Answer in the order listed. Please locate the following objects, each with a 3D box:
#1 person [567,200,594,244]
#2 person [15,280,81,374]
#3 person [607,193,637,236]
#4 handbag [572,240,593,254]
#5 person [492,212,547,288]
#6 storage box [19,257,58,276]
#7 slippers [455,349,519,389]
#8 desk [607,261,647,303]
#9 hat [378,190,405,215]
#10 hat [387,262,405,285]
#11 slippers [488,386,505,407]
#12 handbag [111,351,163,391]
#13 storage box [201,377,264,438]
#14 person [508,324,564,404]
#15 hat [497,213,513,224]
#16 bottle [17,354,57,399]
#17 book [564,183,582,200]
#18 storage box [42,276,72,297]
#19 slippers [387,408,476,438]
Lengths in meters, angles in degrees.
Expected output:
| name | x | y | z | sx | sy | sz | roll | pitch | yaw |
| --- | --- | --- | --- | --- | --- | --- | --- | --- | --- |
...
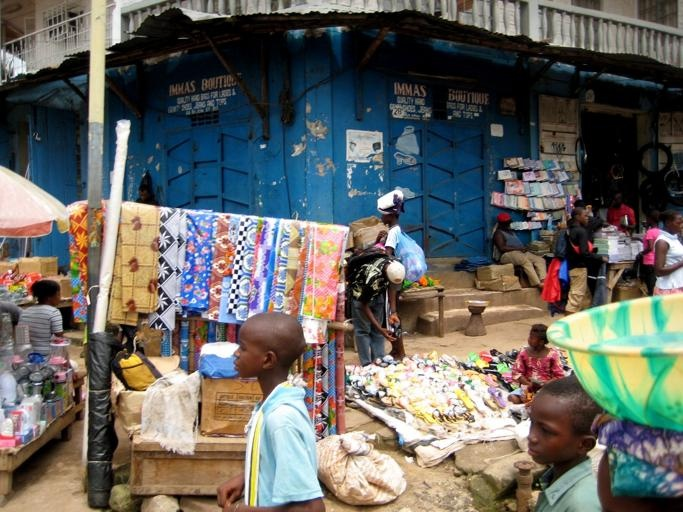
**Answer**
| name | x | y | z | sx | sy | sz | roll | pitch | yaw |
| --- | --- | --- | --- | --- | --- | --- | --- | --- | --- |
| person | 4.105 | -0.576 | 11.874 | 0.477 | 0.647 | 0.800 | -7 | 10 | 14 |
| person | -3.429 | 0.732 | 7.972 | 0.574 | 1.058 | 1.203 | 2 | 0 | -25 |
| person | 5.758 | -0.921 | 14.196 | 0.494 | 0.843 | 1.550 | 1 | 0 | 20 |
| handbag | 4.016 | -0.161 | 11.499 | 0.218 | 0.180 | 0.291 | -1 | -6 | -18 |
| person | 3.177 | -0.124 | 12.497 | 0.737 | 1.309 | 1.068 | 2 | 0 | -34 |
| storage box | -5.632 | 0.182 | 12.680 | 0.657 | 0.374 | 0.957 | 2 | -1 | -25 |
| slippers | 1.842 | 1.312 | 8.362 | 0.431 | 0.119 | 0.509 | -9 | 21 | -38 |
| desk | 4.690 | 0.406 | 11.365 | 0.748 | 0.670 | 0.712 | -2 | 1 | -19 |
| hat | 0.641 | -0.710 | 8.870 | 0.429 | 0.354 | 0.316 | 3 | 0 | 7 |
| hat | 0.607 | 0.196 | 8.016 | 0.196 | 0.245 | 0.252 | -3 | -4 | -2 |
| slippers | 1.684 | 1.536 | 7.499 | 0.095 | 0.091 | 0.234 | -8 | 42 | -8 |
| handbag | -1.854 | 1.035 | 6.215 | 0.442 | 0.356 | 0.141 | 1 | 0 | 0 |
| storage box | -0.995 | 1.256 | 6.260 | 0.680 | 0.631 | 0.413 | 1 | -1 | 0 |
| person | 2.037 | 1.156 | 7.329 | 0.622 | 0.782 | 0.522 | -6 | 12 | -1 |
| hat | 3.014 | -0.712 | 12.734 | 0.220 | 0.137 | 0.157 | -4 | 26 | 41 |
| bottle | -3.091 | 1.224 | 6.875 | 0.298 | 0.172 | 0.403 | -2 | 6 | -38 |
| book | 4.620 | -1.316 | 13.809 | 0.371 | 0.334 | 0.621 | 1 | -1 | 11 |
| storage box | -4.136 | 0.442 | 9.977 | 0.252 | 0.310 | 0.459 | -5 | 7 | -45 |
| slippers | 0.887 | 1.699 | 7.018 | 0.501 | 0.070 | 0.346 | 7 | 12 | 22 |
